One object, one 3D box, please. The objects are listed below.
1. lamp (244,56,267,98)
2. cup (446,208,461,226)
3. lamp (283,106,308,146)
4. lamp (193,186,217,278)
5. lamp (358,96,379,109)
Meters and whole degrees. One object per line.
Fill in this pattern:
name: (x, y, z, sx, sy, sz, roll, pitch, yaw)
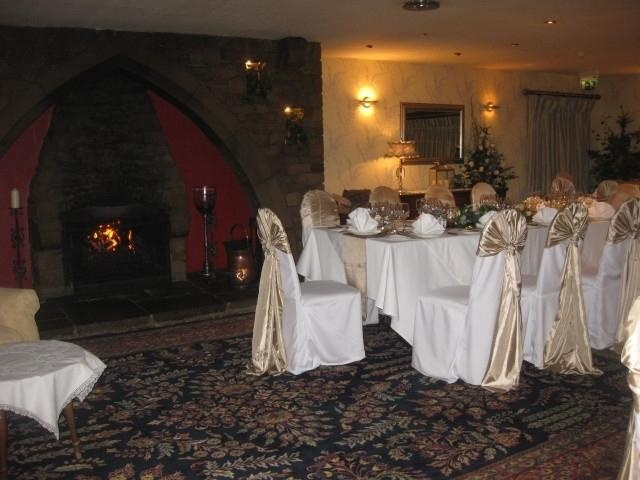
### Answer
lamp: (-0.776, -1.965, 6.286, 0.282, 0.476, 0.085, -6, 5, -12)
cup: (1.157, -0.194, 4.466, 0.119, 0.185, 0.116, 5, 14, -1)
lamp: (-0.321, -1.440, 6.526, 0.304, 0.511, 0.073, -7, 5, -16)
lamp: (-1.439, -0.130, 6.666, 0.273, 1.192, 0.548, -7, 5, -13)
lamp: (0.741, -2.087, 7.780, 0.344, 0.181, 0.095, -8, 6, -31)
